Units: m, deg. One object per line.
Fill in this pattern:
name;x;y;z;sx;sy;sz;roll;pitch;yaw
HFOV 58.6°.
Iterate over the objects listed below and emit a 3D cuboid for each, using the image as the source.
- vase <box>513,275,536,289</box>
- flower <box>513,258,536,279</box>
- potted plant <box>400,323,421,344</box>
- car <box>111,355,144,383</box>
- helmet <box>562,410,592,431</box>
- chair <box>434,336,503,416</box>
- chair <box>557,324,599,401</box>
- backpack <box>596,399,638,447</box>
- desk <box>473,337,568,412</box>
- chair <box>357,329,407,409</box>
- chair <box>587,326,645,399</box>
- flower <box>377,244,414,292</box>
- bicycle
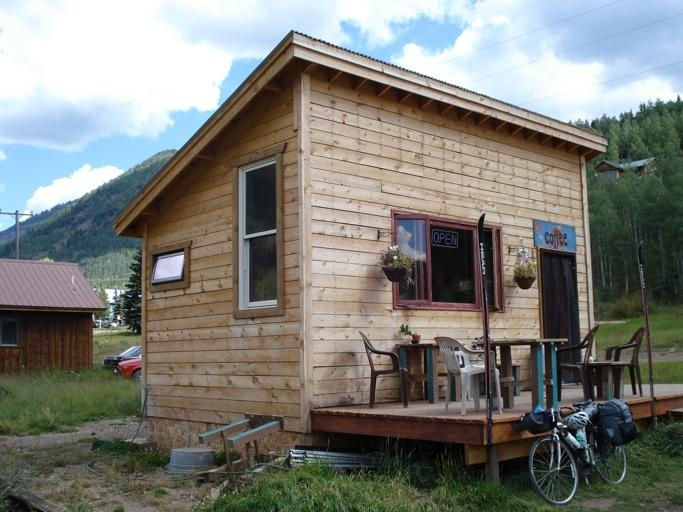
vase;3.514;0.506;11.684;0.386;0.226;0.336;-2;-11;5
flower;3.497;0.247;11.649;0.346;0.236;0.362;3;25;32
potted plant;1.120;1.274;9.988;0.351;0.370;0.240;1;-5;-11
car;-8.183;4.239;23.259;0.932;1.007;2.875;3;-13;-21
helmet;3.122;2.177;8.092;0.294;0.236;0.150;-19;3;-13
chair;1.797;1.663;8.554;0.872;1.065;0.896;-4;-8;24
chair;3.851;1.761;10.095;0.766;1.165;0.864;-4;-6;24
backpack;3.759;2.254;8.288;0.444;0.594;0.386;-3;-13;-28
desk;2.668;1.673;8.931;1.446;1.060;1.527;1;-13;16
chair;0.680;1.768;9.446;0.745;1.088;0.700;-3;-13;11
chair;4.682;1.746;10.122;0.740;1.020;0.731;-4;-8;21
flower;0.991;0.144;9.896;0.617;0.648;0.567;4;-5;-22
bicycle;3.222;2.540;8.193;1.821;1.141;0.880;7;-20;-36
